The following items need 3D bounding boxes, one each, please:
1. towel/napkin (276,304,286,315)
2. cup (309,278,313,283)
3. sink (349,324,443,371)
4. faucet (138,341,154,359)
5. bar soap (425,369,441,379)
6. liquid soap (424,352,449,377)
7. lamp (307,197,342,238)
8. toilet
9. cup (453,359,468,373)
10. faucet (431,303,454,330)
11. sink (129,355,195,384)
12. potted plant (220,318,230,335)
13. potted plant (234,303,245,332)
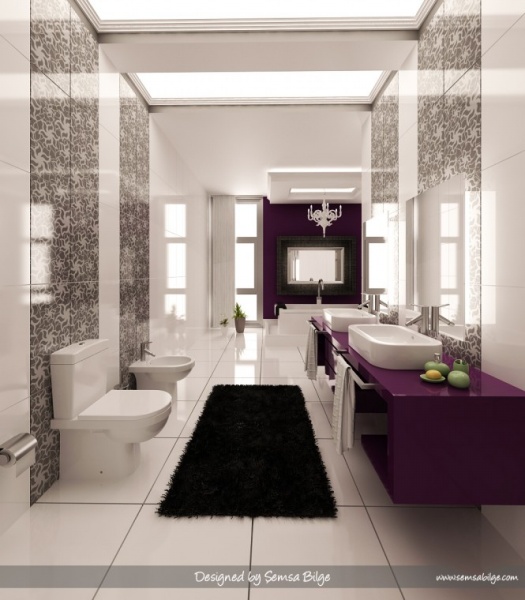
[{"bbox_3d":[0.307,0.157,7.745,0.133,0.149,0.159,2,1,10],"label":"towel/napkin"},{"bbox_3d":[0.935,-0.383,8.643,0.049,0.134,0.061,1,1,0],"label":"cup"},{"bbox_3d":[0.769,0.248,2.784,0.441,0.175,0.977,1,8,7],"label":"sink"},{"bbox_3d":[-1.005,0.434,3.950,0.105,0.211,0.181,-1,-3,-3],"label":"faucet"},{"bbox_3d":[0.794,0.346,2.103,0.034,0.034,0.050,-1,0,9],"label":"bar soap"},{"bbox_3d":[0.863,0.302,2.241,0.091,0.111,0.103,3,1,27],"label":"liquid soap"},{"bbox_3d":[1.085,-1.481,8.156,0.447,0.764,0.543,-1,2,1],"label":"lamp"},{"bbox_3d":[-0.911,0.644,2.755,0.541,0.848,0.605,0,7,9],"label":"toilet"},{"bbox_3d":[0.969,0.313,2.221,0.051,0.070,0.058,2,1,22],"label":"cup"},{"bbox_3d":[1.046,0.091,2.619,0.096,0.181,0.105,2,-1,-4],"label":"faucet"},{"bbox_3d":[-0.817,0.558,3.719,0.283,0.166,0.294,0,4,-5],"label":"sink"},{"bbox_3d":[-0.678,0.490,8.354,0.175,0.424,0.226,1,3,5],"label":"potted plant"},{"bbox_3d":[-0.415,0.346,8.400,0.184,0.508,0.319,0,6,-4],"label":"potted plant"}]
